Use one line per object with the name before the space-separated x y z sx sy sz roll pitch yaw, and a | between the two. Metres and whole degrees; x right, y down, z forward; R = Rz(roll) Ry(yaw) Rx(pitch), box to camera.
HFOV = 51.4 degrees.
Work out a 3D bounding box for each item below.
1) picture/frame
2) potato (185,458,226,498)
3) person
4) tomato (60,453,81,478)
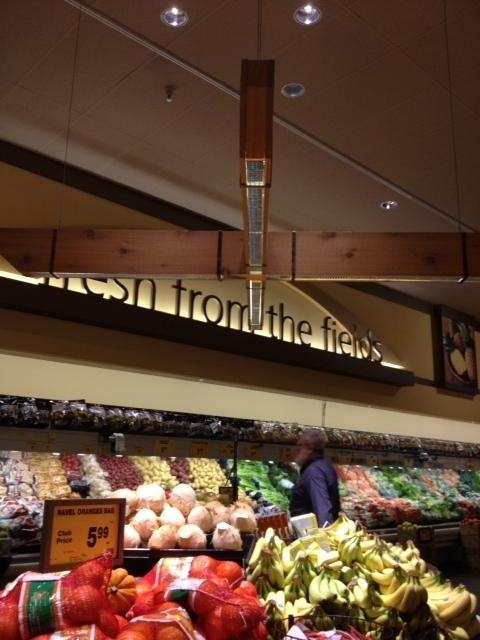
picture/frame | 3.431 0.489 8.019 1.198 1.406 0.180 7 -10 -33
potato | -0.274 1.378 4.324 0.179 0.251 0.273 -7 -8 37
person | 0.646 1.374 4.291 0.413 0.987 0.427 7 -6 -42
tomato | -1.255 1.093 3.730 0.119 0.073 0.218 10 24 -26
